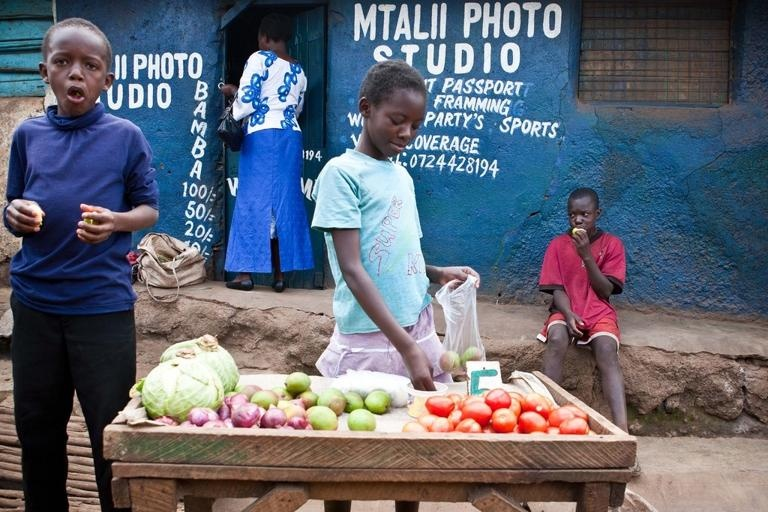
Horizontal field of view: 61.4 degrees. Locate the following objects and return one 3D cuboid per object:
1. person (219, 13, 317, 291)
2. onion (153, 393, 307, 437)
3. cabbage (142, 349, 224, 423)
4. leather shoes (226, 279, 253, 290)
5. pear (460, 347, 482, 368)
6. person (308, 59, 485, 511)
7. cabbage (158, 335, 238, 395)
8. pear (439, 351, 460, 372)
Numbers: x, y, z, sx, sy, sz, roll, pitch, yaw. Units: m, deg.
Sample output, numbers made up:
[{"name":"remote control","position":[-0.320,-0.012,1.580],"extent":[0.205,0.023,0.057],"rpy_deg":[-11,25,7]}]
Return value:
[{"name":"person","position":[-1.169,-0.995,6.540],"extent":[0.928,2.653,0.811],"rpy_deg":[-3,12,-16]},{"name":"onion","position":[-0.631,0.747,3.026],"extent":[0.599,0.119,0.415],"rpy_deg":[-2,8,-26]},{"name":"cabbage","position":[-1.007,0.744,3.207],"extent":[0.430,0.404,0.468],"rpy_deg":[4,-12,-33]},{"name":"leather shoes","position":[-1.463,0.290,6.514],"extent":[0.266,0.098,0.100],"rpy_deg":[5,6,31]},{"name":"pear","position":[0.486,0.548,3.583],"extent":[0.085,0.110,0.107],"rpy_deg":[13,-28,-3]},{"name":"person","position":[0.010,0.178,3.833],"extent":[1.093,2.311,0.928],"rpy_deg":[2,2,21]},{"name":"cabbage","position":[-0.950,0.576,3.412],"extent":[0.330,0.311,0.321],"rpy_deg":[11,-9,-8]},{"name":"pear","position":[0.351,0.588,3.584],"extent":[0.108,0.108,0.128],"rpy_deg":[4,-18,1]}]
